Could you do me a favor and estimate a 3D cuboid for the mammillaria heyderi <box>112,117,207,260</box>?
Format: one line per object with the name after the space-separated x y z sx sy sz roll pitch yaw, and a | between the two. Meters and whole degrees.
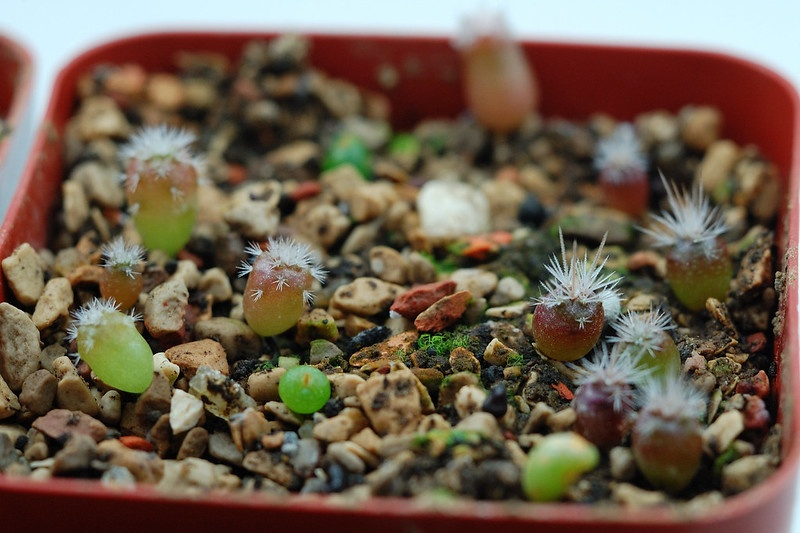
-0.514 -0.190 1.728 0.181 0.218 0.299 -18 60 -11 | mammillaria heyderi

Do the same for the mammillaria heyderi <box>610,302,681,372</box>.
0.474 0.142 1.534 0.069 0.101 0.069 -27 24 22 | mammillaria heyderi

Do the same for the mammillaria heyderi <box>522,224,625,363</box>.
0.353 0.064 1.619 0.163 0.258 0.154 -14 30 -23 | mammillaria heyderi

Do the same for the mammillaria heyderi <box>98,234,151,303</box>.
-0.556 0.010 1.597 0.070 0.107 0.078 -27 51 -36 | mammillaria heyderi

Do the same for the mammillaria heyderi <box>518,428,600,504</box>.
0.280 0.333 1.315 0.109 0.117 0.054 -2 98 -11 | mammillaria heyderi

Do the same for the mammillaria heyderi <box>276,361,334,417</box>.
-0.195 0.215 1.522 0.123 0.125 0.129 0 90 -18 | mammillaria heyderi

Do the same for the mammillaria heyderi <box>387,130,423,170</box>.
0.013 -0.299 2.019 0.085 0.089 0.108 0 94 8 | mammillaria heyderi

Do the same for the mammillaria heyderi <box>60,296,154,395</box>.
-0.547 0.154 1.528 0.130 0.081 0.190 -30 92 7 | mammillaria heyderi

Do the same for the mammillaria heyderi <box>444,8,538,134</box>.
0.223 -0.473 1.932 0.167 0.258 0.154 -33 27 -8 | mammillaria heyderi

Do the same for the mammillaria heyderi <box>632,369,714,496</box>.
0.490 0.314 1.441 0.122 0.210 0.127 -3 13 0 | mammillaria heyderi

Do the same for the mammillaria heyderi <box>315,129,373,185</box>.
-0.128 -0.291 1.983 0.113 0.142 0.111 21 25 23 | mammillaria heyderi

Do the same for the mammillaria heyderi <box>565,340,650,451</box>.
0.393 0.258 1.498 0.121 0.224 0.135 3 13 44 | mammillaria heyderi

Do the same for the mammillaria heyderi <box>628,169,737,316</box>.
0.629 -0.045 1.750 0.182 0.307 0.209 -24 11 8 | mammillaria heyderi
